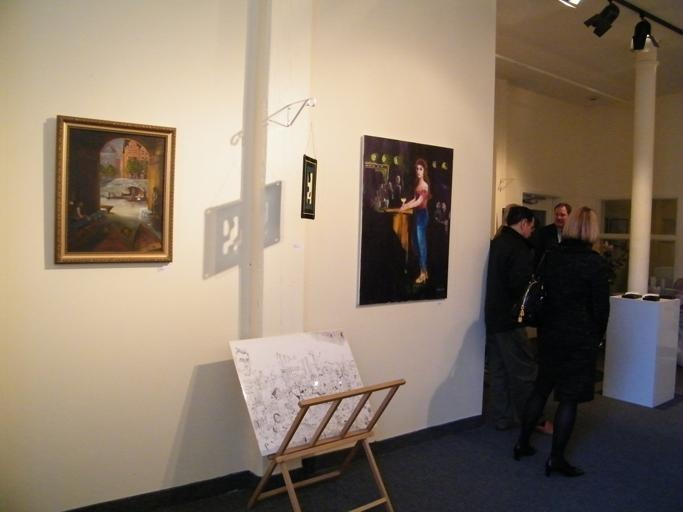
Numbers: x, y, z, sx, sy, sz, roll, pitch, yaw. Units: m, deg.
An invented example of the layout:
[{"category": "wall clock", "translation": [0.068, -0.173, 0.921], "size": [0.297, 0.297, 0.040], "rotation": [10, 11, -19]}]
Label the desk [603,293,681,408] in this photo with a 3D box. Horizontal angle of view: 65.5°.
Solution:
[{"category": "desk", "translation": [3.418, 1.052, 6.028], "size": [0.755, 1.213, 0.535], "rotation": [5, 9, 23]}]

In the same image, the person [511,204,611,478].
[{"category": "person", "translation": [1.874, 0.712, 4.486], "size": [0.605, 2.208, 0.565], "rotation": [9, 11, 42]}]
